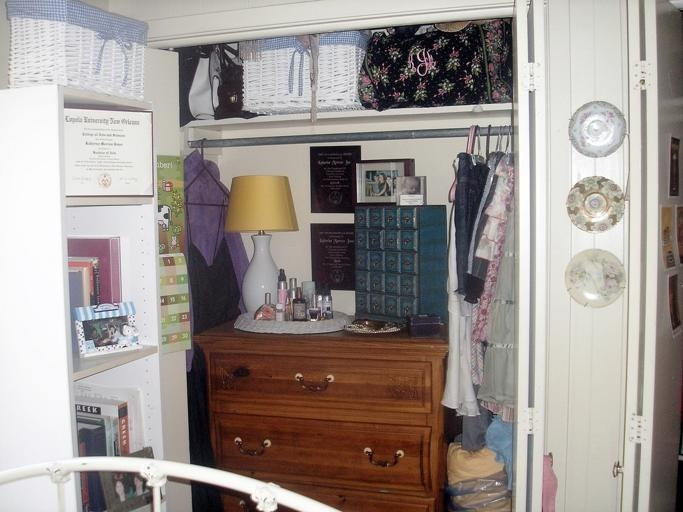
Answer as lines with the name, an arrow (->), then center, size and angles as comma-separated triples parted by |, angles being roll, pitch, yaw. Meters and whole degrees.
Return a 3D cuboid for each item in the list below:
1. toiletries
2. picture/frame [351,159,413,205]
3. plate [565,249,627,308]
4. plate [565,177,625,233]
toiletries -> -0.258, 0.211, 2.974 | 0.417, 0.264, 0.258 | -4, 3, -2
picture/frame -> 0.233, -0.402, 3.048 | 0.232, 0.213, 0.032 | -1, -5, 16
plate -> 1.011, 0.088, 2.241 | 0.231, 0.228, 0.021 | -3, 3, 9
plate -> 1.007, -0.204, 2.223 | 0.214, 0.216, 0.020 | -3, 3, 8
